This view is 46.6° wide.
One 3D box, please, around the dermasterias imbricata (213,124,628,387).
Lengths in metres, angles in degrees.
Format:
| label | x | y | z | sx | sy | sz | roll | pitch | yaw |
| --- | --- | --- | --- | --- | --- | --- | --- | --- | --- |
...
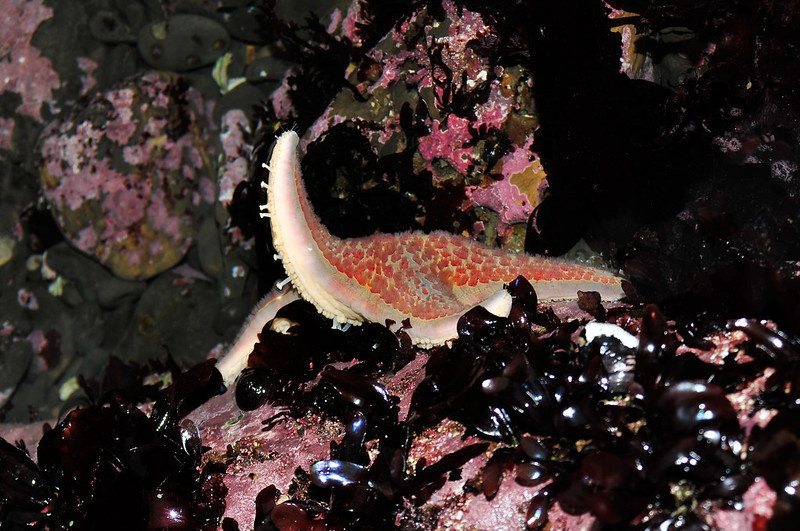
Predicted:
| label | x | y | z | sx | sy | sz | roll | pitch | yaw |
| --- | --- | --- | --- | --- | --- | --- | --- | --- | --- |
| dermasterias imbricata | 0.043 | 0.042 | 2.458 | 0.779 | 0.307 | 0.650 | 12 | 58 | 9 |
